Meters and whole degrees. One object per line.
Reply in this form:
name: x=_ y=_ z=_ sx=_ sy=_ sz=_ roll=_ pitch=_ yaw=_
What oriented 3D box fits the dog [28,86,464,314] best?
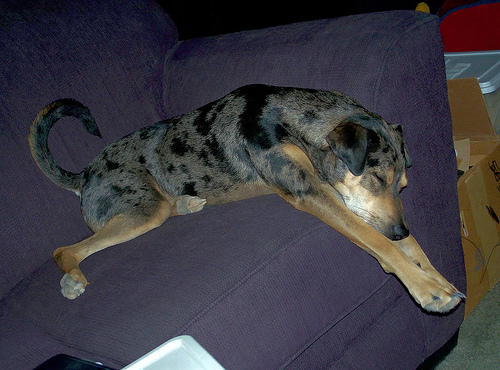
dog: x=-0.063 y=0.022 z=1.898 sx=1.848 sy=0.881 sz=0.648 roll=-1 pitch=11 yaw=9
